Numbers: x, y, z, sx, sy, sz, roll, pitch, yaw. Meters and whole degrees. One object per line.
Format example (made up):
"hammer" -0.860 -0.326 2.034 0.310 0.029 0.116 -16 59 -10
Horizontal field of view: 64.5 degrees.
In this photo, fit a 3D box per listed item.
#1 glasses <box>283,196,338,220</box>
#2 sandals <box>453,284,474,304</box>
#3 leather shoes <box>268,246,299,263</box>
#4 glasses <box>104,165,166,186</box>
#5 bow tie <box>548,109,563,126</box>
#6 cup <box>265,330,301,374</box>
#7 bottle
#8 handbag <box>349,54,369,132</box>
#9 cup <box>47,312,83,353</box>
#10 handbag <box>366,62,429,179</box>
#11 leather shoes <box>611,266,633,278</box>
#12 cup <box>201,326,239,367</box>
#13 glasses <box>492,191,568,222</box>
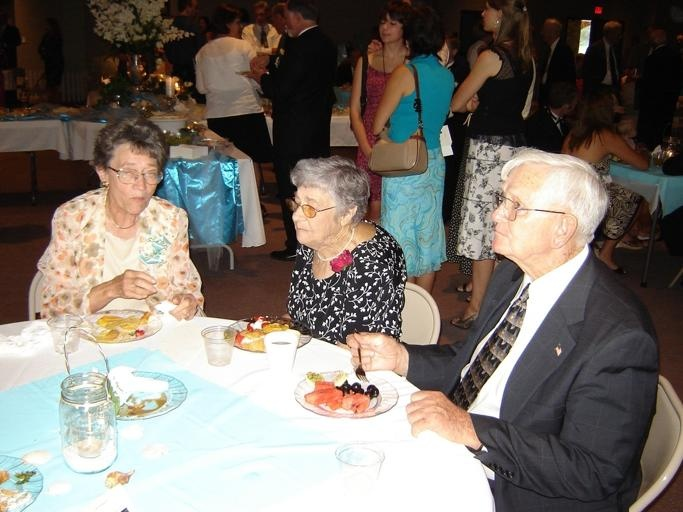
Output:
"glasses" -0.153 -0.201 2.262 0.121 0.039 0.127 25 20 40
"sandals" 1.102 0.316 4.860 0.194 0.047 0.110 -3 40 -10
"leather shoes" -0.562 -0.014 5.234 0.381 0.155 0.138 3 11 10
"glasses" -0.929 -0.357 2.398 0.209 0.075 0.109 -2 21 -16
"bow tie" 1.923 -1.255 4.901 0.099 0.120 0.051 19 67 27
"cup" -0.185 0.302 1.734 0.110 0.108 0.120 -1 8 0
"bottle" -0.604 0.409 1.292 0.114 0.199 0.102 -8 22 -29
"handbag" 0.142 -1.205 4.137 0.113 0.506 0.286 5 6 14
"cup" -0.895 0.241 1.813 0.125 0.118 0.129 4 10 -1
"handbag" 0.402 -0.877 3.576 0.395 0.737 0.202 4 19 2
"leather shoes" 2.454 0.138 4.742 0.121 0.080 0.320 -1 4 3
"cup" -0.392 0.283 1.743 0.114 0.106 0.120 0 2 0
"glasses" 0.572 -0.150 1.718 0.093 0.073 0.257 -10 24 -33
